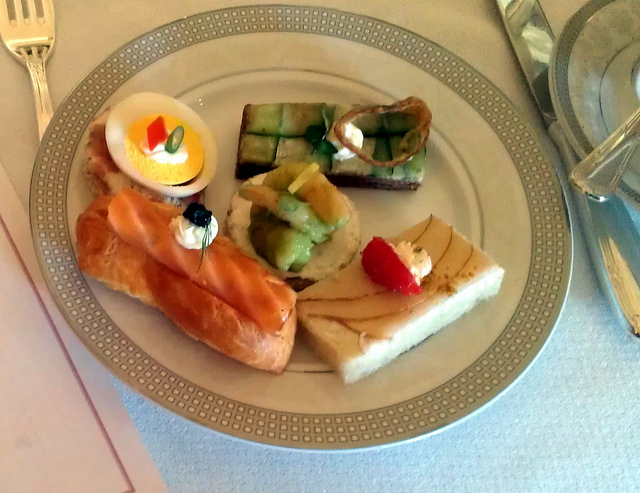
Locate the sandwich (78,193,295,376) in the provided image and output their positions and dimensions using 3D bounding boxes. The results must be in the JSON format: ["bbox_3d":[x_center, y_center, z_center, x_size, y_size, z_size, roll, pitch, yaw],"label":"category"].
[{"bbox_3d":[-0.449,0.117,2.028,0.728,0.237,0.466,35,64,-3],"label":"sandwich"}]

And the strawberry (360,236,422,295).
[{"bbox_3d":[0.230,0.068,2.027,0.069,0.145,0.188,-43,59,1],"label":"strawberry"}]
